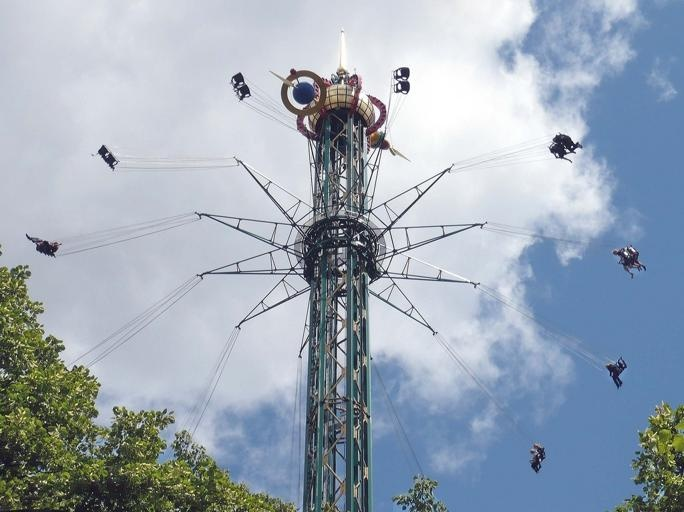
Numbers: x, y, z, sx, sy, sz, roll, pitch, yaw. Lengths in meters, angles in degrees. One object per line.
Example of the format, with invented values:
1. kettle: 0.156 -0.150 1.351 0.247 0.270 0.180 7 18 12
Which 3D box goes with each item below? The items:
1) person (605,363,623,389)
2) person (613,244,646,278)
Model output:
1. person: 15.738 6.866 68.001 0.694 1.542 1.068 -38 -77 10
2. person: 13.000 0.203 53.751 1.073 0.485 1.369 -22 -91 22
